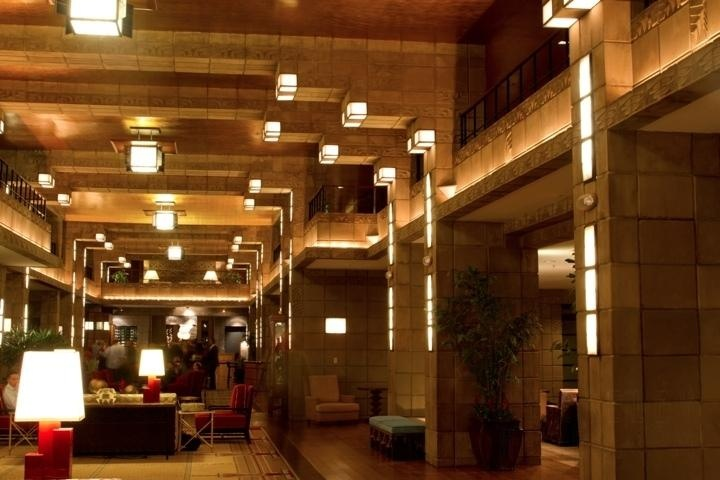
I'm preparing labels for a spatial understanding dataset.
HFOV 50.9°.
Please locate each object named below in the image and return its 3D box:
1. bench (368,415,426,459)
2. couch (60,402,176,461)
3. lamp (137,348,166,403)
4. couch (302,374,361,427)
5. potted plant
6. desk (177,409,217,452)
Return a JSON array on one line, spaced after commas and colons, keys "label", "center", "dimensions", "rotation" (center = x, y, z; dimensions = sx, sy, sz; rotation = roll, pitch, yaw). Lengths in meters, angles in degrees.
[{"label": "bench", "center": [0.776, 3.638, 13.854], "dimensions": [0.667, 0.456, 0.971], "rotation": [3, -10, -13]}, {"label": "couch", "center": [-4.395, 3.571, 13.950], "dimensions": [1.734, 0.798, 0.945], "rotation": [15, -39, -27]}, {"label": "lamp", "center": [-4.073, 2.589, 14.746], "dimensions": [0.452, 0.898, 1.705], "rotation": [1, -2, -16]}, {"label": "couch", "center": [-0.742, 4.036, 18.918], "dimensions": [1.444, 1.139, 1.480], "rotation": [-3, -8, 24]}, {"label": "potted plant", "center": [2.143, 2.168, 12.773], "dimensions": [1.564, 3.380, 0.934], "rotation": [0, -1, 9]}, {"label": "desk", "center": [-3.266, 3.849, 15.048], "dimensions": [0.668, 0.775, 0.818], "rotation": [4, -16, -18]}]
